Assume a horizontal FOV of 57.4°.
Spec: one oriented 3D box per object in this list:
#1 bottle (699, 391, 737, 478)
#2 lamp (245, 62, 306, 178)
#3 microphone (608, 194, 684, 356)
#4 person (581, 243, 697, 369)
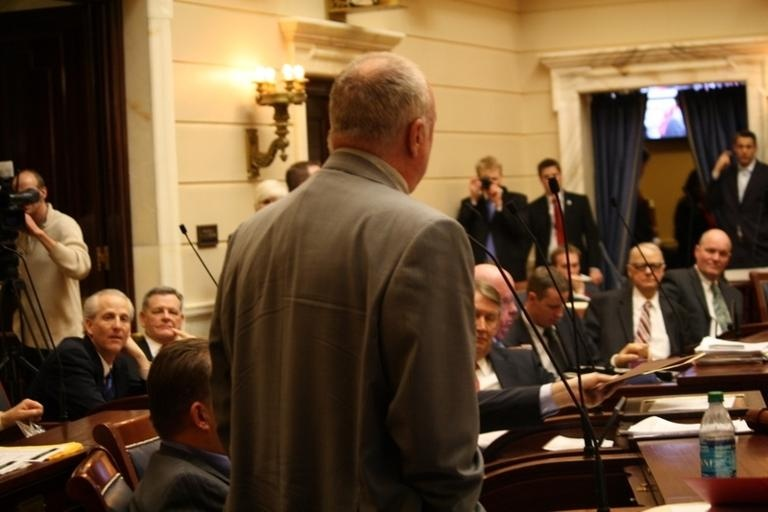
[{"bbox_3d":[1.071,0.568,2.239,0.106,0.271,0.188,2,6,27],"label":"bottle"},{"bbox_3d":[-0.897,-1.046,5.744,0.458,0.860,0.356,-3,4,10],"label":"lamp"},{"bbox_3d":[2.199,0.137,5.944,0.077,2.064,0.234,-40,44,-11],"label":"microphone"},{"bbox_3d":[1.806,0.363,4.998,0.699,1.135,0.603,1,-13,5],"label":"person"}]
